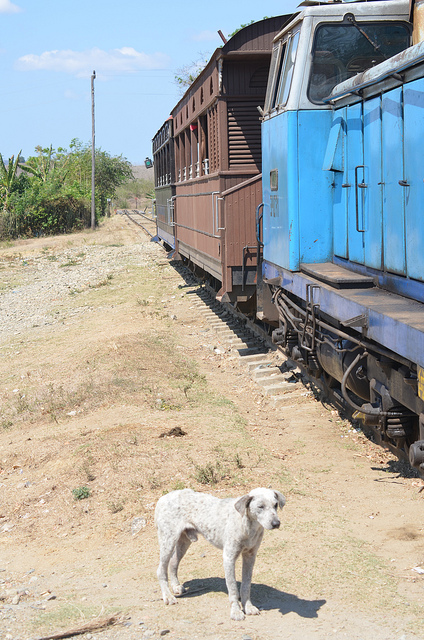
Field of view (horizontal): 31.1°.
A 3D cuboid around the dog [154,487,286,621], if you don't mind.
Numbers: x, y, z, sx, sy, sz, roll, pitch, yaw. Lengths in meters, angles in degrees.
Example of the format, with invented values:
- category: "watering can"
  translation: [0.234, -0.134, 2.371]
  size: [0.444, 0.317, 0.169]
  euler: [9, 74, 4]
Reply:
- category: "dog"
  translation: [0.030, 1.358, 4.605]
  size: [0.939, 0.772, 0.407]
  euler: [5, 11, 42]

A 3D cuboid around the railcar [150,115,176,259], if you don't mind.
- category: "railcar"
  translation: [-1.666, -5.280, 27.733]
  size: [1.233, 4.100, 7.586]
  euler: [8, 14, -6]
